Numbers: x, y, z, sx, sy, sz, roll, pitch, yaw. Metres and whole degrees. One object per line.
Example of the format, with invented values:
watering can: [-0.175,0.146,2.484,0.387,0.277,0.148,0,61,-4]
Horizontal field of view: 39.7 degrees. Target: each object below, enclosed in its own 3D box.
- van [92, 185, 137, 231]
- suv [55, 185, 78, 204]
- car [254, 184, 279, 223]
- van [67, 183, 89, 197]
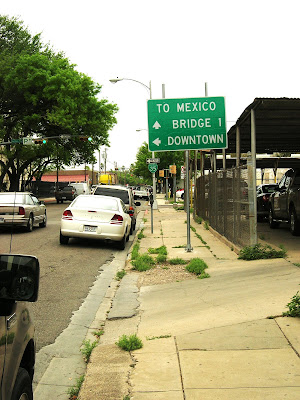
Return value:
van: [-1.278,0.150,17.630,1.124,1.152,2.279,1,6,5]
suv: [-9.255,-0.397,45.665,1.836,2.010,4.253,0,5,6]
car: [5.366,0.148,19.038,1.262,1.330,3.101,-1,2,2]
van: [-7.705,-1.084,44.264,1.651,1.949,3.434,0,8,4]
